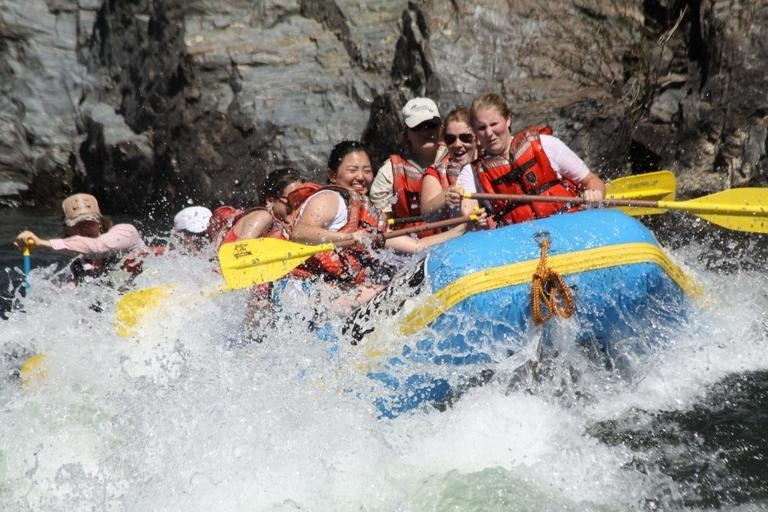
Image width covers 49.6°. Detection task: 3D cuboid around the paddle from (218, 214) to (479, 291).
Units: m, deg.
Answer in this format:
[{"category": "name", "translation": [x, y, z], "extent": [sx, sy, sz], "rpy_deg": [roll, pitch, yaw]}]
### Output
[{"category": "paddle", "translation": [-0.316, -0.007, 7.169], "extent": [2.804, 0.219, 0.535], "rpy_deg": [-8, 82, -1]}]

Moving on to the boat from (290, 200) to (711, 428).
[{"category": "boat", "translation": [1.097, 0.377, 6.845], "extent": [2.409, 1.457, 0.771], "rpy_deg": [-15, 98, 1]}]

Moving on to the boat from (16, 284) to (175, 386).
[{"category": "boat", "translation": [-2.468, 0.548, 7.250], "extent": [1.112, 0.669, 0.260], "rpy_deg": [-29, 112, -3]}]

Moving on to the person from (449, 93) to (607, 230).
[{"category": "person", "translation": [1.184, -0.765, 7.245], "extent": [1.099, 0.518, 1.266], "rpy_deg": [-29, 97, 17]}]

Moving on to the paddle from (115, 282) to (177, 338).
[{"category": "paddle", "translation": [-2.116, 0.488, 7.425], "extent": [0.515, 0.123, 0.308], "rpy_deg": [-34, 53, -7]}]
